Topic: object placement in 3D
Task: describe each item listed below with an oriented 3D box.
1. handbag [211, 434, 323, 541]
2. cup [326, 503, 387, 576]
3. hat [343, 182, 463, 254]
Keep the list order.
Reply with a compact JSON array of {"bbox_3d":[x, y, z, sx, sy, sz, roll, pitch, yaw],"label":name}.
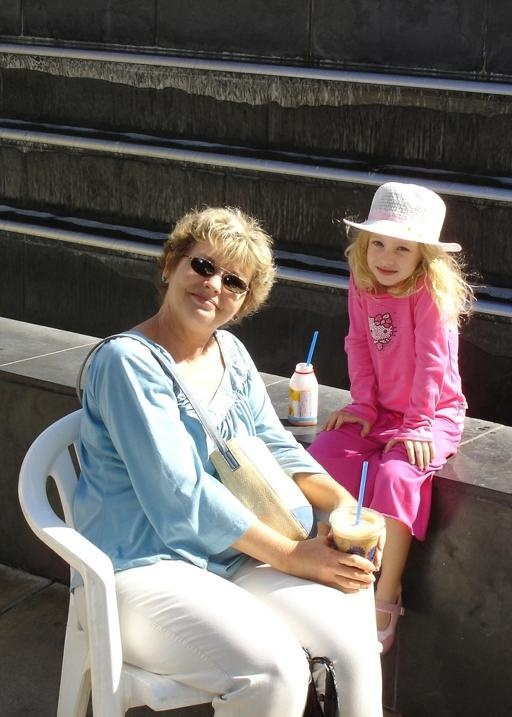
[{"bbox_3d":[0.018,0.308,1.914,0.088,0.278,0.202,-41,17,11],"label":"handbag"},{"bbox_3d":[0.219,0.415,1.834,0.143,0.141,0.137,0,14,0],"label":"cup"},{"bbox_3d":[0.521,-0.472,2.651,0.287,0.117,0.323,17,1,33],"label":"hat"}]
